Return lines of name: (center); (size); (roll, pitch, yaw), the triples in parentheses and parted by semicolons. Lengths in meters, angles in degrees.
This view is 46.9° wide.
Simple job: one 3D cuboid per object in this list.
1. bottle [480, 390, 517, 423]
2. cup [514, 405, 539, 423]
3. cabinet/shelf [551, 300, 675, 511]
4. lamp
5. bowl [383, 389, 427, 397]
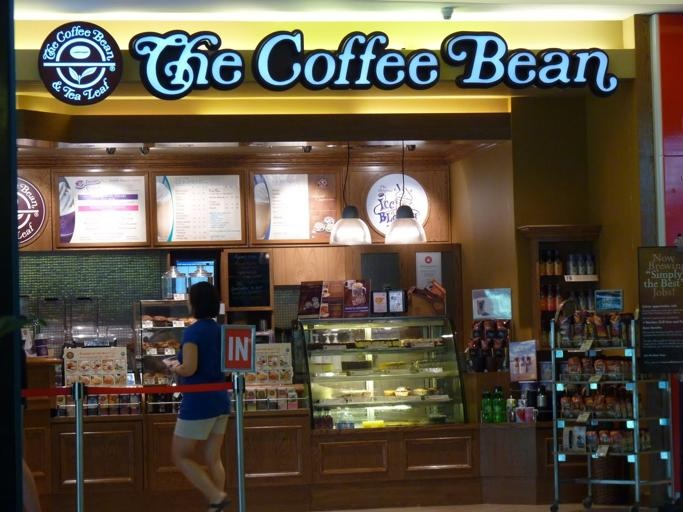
bottle: (1.484, 1.446, 7.495); (0.277, 0.265, 0.090); (4, -16, -7)
cup: (1.748, 1.512, 7.468); (0.171, 0.132, 0.135); (3, -8, -1)
cabinet/shelf: (2.472, 1.384, 7.276); (1.098, 1.899, 0.865); (-5, -4, 19)
lamp: (0.365, -0.733, 9.009); (1.086, 1.293, 0.467); (0, -7, -5)
bowl: (0.614, 1.318, 7.530); (0.411, 0.067, 0.081); (-3, -4, 2)
